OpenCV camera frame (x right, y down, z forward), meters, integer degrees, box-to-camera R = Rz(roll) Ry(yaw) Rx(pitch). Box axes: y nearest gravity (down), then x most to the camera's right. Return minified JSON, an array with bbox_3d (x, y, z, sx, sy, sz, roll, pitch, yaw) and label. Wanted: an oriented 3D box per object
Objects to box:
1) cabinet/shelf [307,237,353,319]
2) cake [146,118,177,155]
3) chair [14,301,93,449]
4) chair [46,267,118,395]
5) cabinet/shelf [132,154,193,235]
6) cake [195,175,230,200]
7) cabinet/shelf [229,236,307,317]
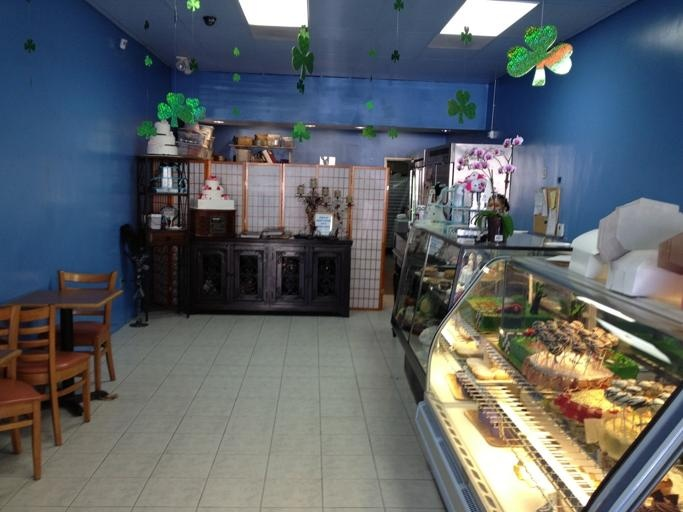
[{"bbox_3d":[-0.246,0.244,7.378,0.736,1.207,0.610,-1,21,-11],"label":"cabinet/shelf"},{"bbox_3d":[-2.570,-1.658,6.777,0.462,0.505,0.449,-5,8,-44],"label":"cake"},{"bbox_3d":[-2.492,0.948,3.982,0.684,1.085,0.684,2,-1,42],"label":"chair"},{"bbox_3d":[-2.641,0.754,4.723,0.650,1.113,0.706,-2,5,-18],"label":"chair"},{"bbox_3d":[-2.385,-0.852,6.972,0.698,1.299,0.664,2,16,6],"label":"cabinet/shelf"},{"bbox_3d":[-1.935,-0.993,7.063,0.387,0.265,0.397,0,3,-5],"label":"cake"},{"bbox_3d":[-1.139,0.276,7.092,1.140,1.119,0.417,1,0,-4],"label":"cabinet/shelf"}]
